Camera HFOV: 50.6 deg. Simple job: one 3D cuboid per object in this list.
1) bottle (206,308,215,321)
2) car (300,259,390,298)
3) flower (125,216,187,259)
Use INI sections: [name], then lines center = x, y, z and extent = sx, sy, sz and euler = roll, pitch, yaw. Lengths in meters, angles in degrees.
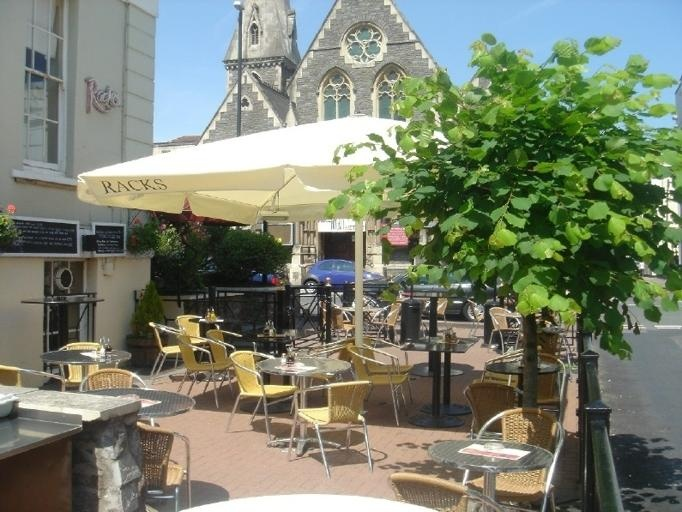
[bottle]
center = -2.191, 0.982, 12.105
extent = 0.155, 0.270, 0.187
euler = 1, -6, -4
[car]
center = -0.016, 0.849, 27.348
extent = 2.422, 1.097, 1.368
euler = -2, -1, 17
[flower]
center = -3.470, -0.343, 13.479
extent = 0.757, 0.488, 0.760
euler = -3, -1, 29
